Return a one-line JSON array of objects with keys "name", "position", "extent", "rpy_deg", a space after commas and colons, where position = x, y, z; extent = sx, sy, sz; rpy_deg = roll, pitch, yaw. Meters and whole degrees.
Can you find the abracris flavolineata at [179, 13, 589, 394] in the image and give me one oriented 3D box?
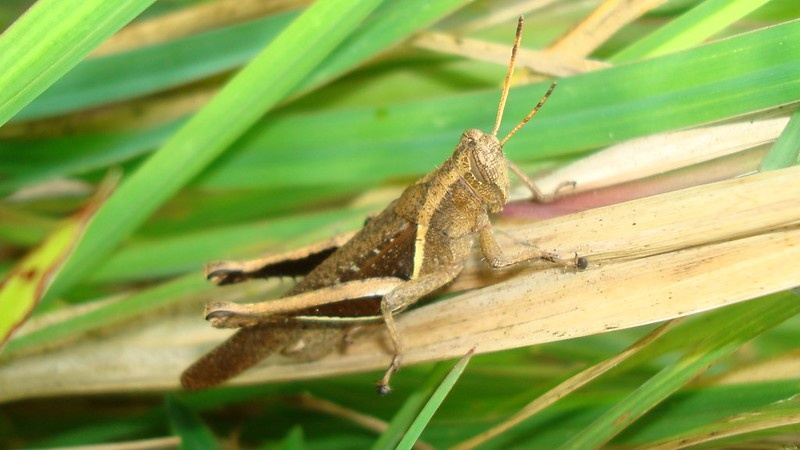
[{"name": "abracris flavolineata", "position": [-0.143, 0.109, 5.328], "extent": [3.056, 1.404, 1.222], "rpy_deg": [-32, 24, 9]}]
